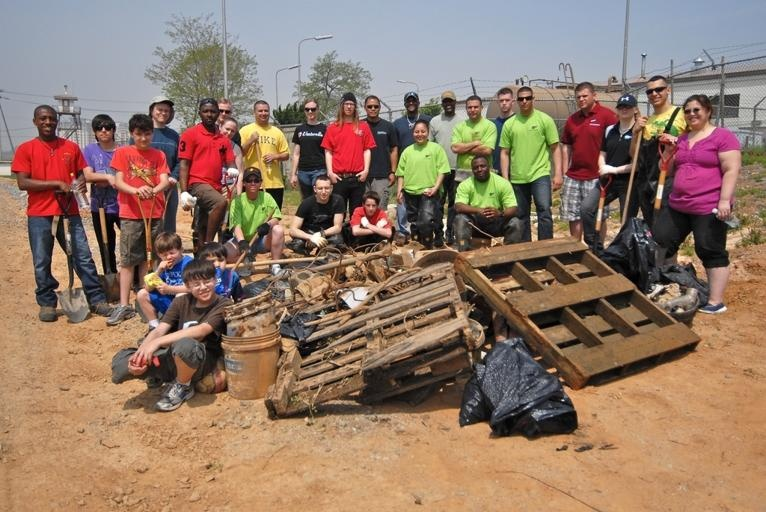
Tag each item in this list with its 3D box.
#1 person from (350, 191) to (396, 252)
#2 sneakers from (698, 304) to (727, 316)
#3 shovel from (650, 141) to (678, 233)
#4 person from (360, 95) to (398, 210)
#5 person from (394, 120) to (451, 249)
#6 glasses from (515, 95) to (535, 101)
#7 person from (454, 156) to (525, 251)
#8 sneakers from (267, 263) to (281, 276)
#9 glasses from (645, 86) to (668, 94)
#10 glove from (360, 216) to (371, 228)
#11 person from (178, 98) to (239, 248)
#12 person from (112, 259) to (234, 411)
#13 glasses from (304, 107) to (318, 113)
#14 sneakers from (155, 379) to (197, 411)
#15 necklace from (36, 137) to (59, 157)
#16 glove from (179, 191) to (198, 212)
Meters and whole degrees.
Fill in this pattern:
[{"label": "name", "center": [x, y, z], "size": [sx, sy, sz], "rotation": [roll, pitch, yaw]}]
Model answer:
[{"label": "person", "center": [-0.202, -0.507, 9.063], "size": [0.685, 1.111, 0.903], "rotation": [2, 20, -7]}, {"label": "sneakers", "center": [4.435, 0.712, 7.325], "size": [0.356, 0.159, 0.146], "rotation": [3, 9, 4]}, {"label": "shovel", "center": [3.869, -0.968, 7.505], "size": [0.401, 1.188, 0.080], "rotation": [13, -10, 27]}, {"label": "person", "center": [-0.152, -1.646, 10.130], "size": [0.883, 2.604, 0.807], "rotation": [2, 19, 6]}, {"label": "person", "center": [0.713, -1.280, 9.788], "size": [0.920, 2.277, 0.633], "rotation": [-1, 15, 5]}, {"label": "glasses", "center": [2.201, -2.456, 8.428], "size": [0.334, 0.079, 0.121], "rotation": [-7, 15, -20]}, {"label": "person", "center": [1.688, -0.745, 8.685], "size": [1.074, 1.730, 1.065], "rotation": [1, 10, 20]}, {"label": "sneakers", "center": [-1.599, 0.193, 8.021], "size": [0.158, 0.100, 0.212], "rotation": [-2, 6, 8]}, {"label": "glasses", "center": [3.844, -2.345, 7.614], "size": [0.255, 0.106, 0.187], "rotation": [4, 16, 24]}, {"label": "glove", "center": [-0.291, -0.556, 8.851], "size": [0.130, 0.158, 0.179], "rotation": [-6, 15, -15]}, {"label": "person", "center": [-2.624, -1.212, 8.092], "size": [0.795, 2.227, 0.637], "rotation": [-6, 16, -14]}, {"label": "person", "center": [-2.372, 0.862, 6.152], "size": [1.252, 1.587, 0.778], "rotation": [-5, 15, -10]}, {"label": "glasses", "center": [-1.330, -2.668, 9.857], "size": [0.211, 0.073, 0.184], "rotation": [2, 15, 16]}, {"label": "sneakers", "center": [-2.369, 1.561, 6.052], "size": [0.202, 0.234, 0.510], "rotation": [21, 29, 28]}, {"label": "necklace", "center": [-4.642, -1.541, 7.554], "size": [0.255, 0.225, 0.084], "rotation": [-10, 17, -28]}, {"label": "glove", "center": [-2.866, -0.804, 7.855], "size": [0.240, 0.115, 0.315], "rotation": [33, -7, -41]}]
